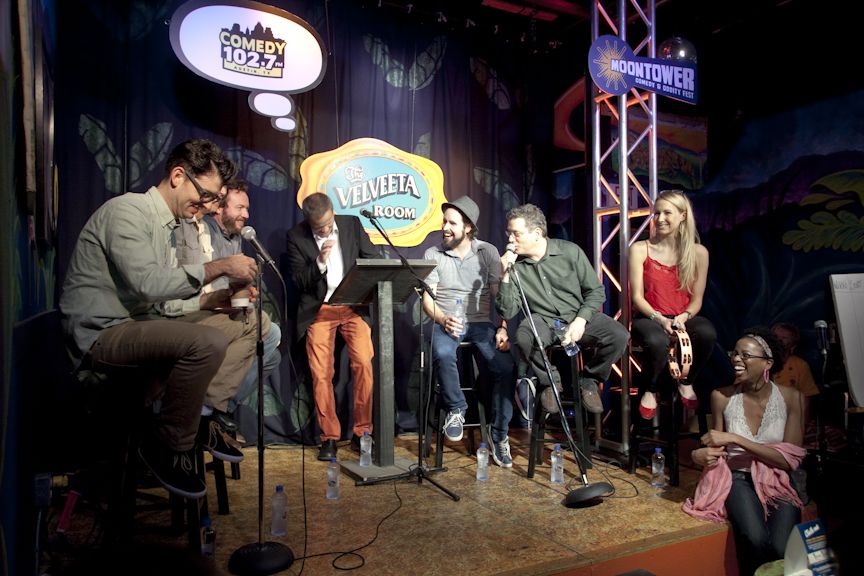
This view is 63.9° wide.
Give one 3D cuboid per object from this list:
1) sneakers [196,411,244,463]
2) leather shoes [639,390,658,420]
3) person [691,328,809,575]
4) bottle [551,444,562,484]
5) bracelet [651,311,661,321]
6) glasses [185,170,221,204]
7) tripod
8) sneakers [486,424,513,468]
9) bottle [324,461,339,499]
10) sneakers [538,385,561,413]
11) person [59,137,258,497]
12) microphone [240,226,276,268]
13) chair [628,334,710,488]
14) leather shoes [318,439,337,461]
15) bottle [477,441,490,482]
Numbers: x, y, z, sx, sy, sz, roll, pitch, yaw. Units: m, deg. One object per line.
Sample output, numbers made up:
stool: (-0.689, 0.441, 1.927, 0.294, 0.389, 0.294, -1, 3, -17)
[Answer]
sneakers: (-1.547, 1.098, 5.126, 0.198, 0.252, 0.584, -1, 10, -30)
leather shoes: (1.928, 1.048, 6.212, 0.157, 0.239, 0.238, 0, -9, 11)
person: (2.439, 1.251, 5.424, 0.840, 1.832, 0.616, 0, -2, 25)
bottle: (1.078, 1.491, 5.999, 0.109, 0.342, 0.285, 1, -2, 11)
bracelet: (2.008, 0.239, 6.201, 0.061, 0.077, 0.142, 1, -2, -8)
glasses: (-1.591, -0.722, 4.896, 0.059, 0.205, 0.194, -31, -21, 12)
tripod: (-0.185, 0.514, 6.197, 0.817, 2.393, 1.945, 1, -2, -3)
sneakers: (0.627, 1.467, 6.439, 0.154, 0.163, 0.434, 1, 28, -25)
bottle: (-0.788, 1.549, 5.628, 0.103, 0.282, 0.196, 1, -2, -7)
sneakers: (1.017, 0.959, 5.972, 0.103, 0.222, 0.384, 1, -2, -12)
person: (-1.960, 0.111, 5.063, 1.151, 2.363, 1.146, 4, 6, -20)
microphone: (-1.472, -0.361, 5.906, 0.150, 0.550, 0.138, -26, -29, -11)
chair: (2.176, 0.965, 6.052, 0.369, 1.149, 0.622, -4, -1, 12)
leather shoes: (-0.976, 1.522, 6.554, 0.174, 0.200, 0.243, 2, -2, -11)
bottle: (0.438, 1.517, 5.987, 0.103, 0.268, 0.148, 1, -2, 2)
